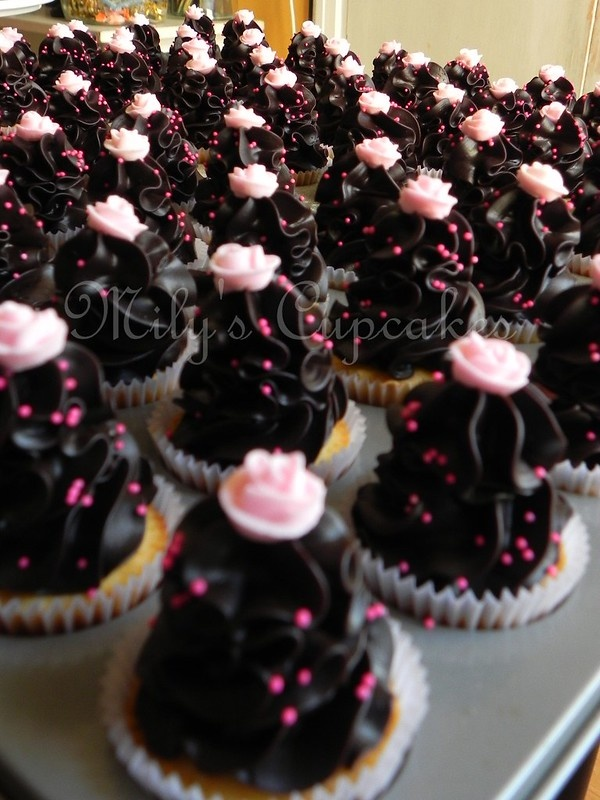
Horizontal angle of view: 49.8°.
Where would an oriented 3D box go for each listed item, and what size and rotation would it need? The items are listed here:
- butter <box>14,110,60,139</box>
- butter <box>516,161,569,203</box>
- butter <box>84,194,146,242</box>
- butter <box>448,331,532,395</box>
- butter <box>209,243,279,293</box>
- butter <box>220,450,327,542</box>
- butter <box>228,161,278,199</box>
[{"bbox_3d":[-0.944,-0.999,2.321,0.116,0.068,0.129,2,46,-12],"label":"butter"},{"bbox_3d":[0.748,-0.684,2.020,0.131,0.079,0.145,26,35,-14],"label":"butter"},{"bbox_3d":[-0.431,-0.420,1.512,0.109,0.089,0.120,23,22,-27],"label":"butter"},{"bbox_3d":[0.280,-0.047,0.974,0.118,0.104,0.106,8,24,12],"label":"butter"},{"bbox_3d":[-0.107,-0.251,1.283,0.114,0.074,0.111,2,27,3],"label":"butter"},{"bbox_3d":[-0.036,0.092,0.657,0.112,0.077,0.057,9,24,13],"label":"butter"},{"bbox_3d":[-0.137,-0.627,1.879,0.117,0.077,0.119,5,17,18],"label":"butter"}]
